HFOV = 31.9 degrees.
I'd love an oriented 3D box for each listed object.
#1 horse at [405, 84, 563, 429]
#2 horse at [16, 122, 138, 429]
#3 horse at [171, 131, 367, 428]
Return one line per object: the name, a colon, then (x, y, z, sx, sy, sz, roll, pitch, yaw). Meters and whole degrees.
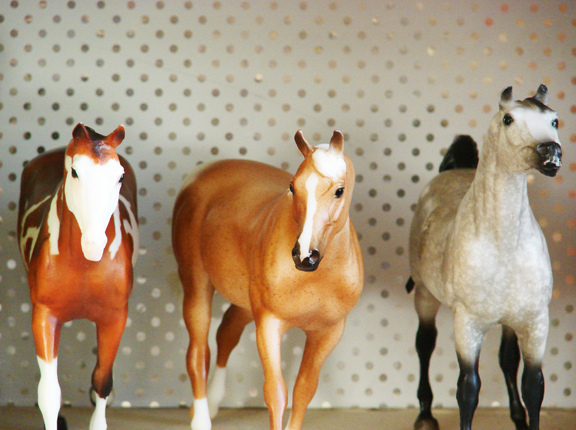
horse: (0.679, 0.175, 3.426, 0.326, 1.185, 0.746, 9, -8, -28)
horse: (-0.721, 0.223, 3.498, 0.422, 1.027, 0.611, 8, -8, -20)
horse: (-0.064, 0.247, 3.466, 0.337, 0.998, 0.738, 12, -10, -42)
